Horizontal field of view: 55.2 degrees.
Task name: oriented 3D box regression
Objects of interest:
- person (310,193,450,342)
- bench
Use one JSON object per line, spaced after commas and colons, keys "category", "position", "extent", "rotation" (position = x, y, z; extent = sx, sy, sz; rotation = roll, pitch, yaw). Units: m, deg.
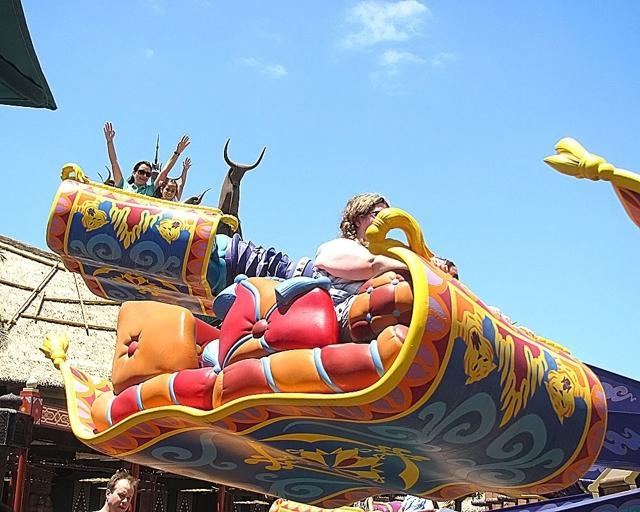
{"category": "person", "position": [0.458, 0.089, 4.457], "extent": [1.097, 1.210, 0.952], "rotation": [8, 7, 31]}
{"category": "bench", "position": [-0.390, 0.780, 4.203], "extent": [1.668, 0.612, 1.216], "rotation": [-12, -20, 28]}
